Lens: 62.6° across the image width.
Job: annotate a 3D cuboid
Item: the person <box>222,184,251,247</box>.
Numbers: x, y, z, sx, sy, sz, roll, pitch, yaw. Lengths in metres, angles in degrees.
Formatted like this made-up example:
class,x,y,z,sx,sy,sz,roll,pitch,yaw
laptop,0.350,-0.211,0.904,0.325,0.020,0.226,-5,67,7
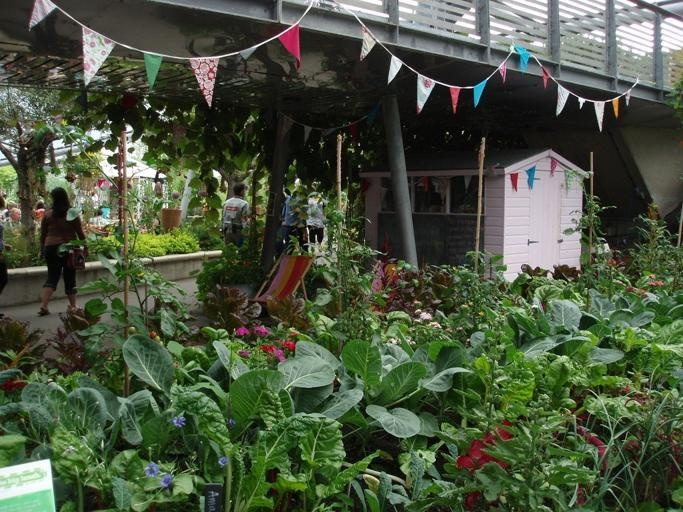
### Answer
class,x,y,z,sx,sy,sz,roll,pitch,yaw
person,-1.615,-0.618,8.633,0.384,0.970,0.802,2,-2,-16

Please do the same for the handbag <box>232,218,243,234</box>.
class,x,y,z,sx,sy,sz,roll,pitch,yaw
handbag,-1.615,-0.448,8.679,0.166,0.276,0.184,1,3,-5

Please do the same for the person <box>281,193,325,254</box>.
class,x,y,z,sx,sy,sz,roll,pitch,yaw
person,-0.711,-0.478,8.676,0.910,1.003,0.291,-5,6,22

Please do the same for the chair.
class,x,y,z,sx,sy,sz,roll,pitch,yaw
chair,-0.679,0.270,6.499,0.647,0.467,0.599,-8,7,-42
